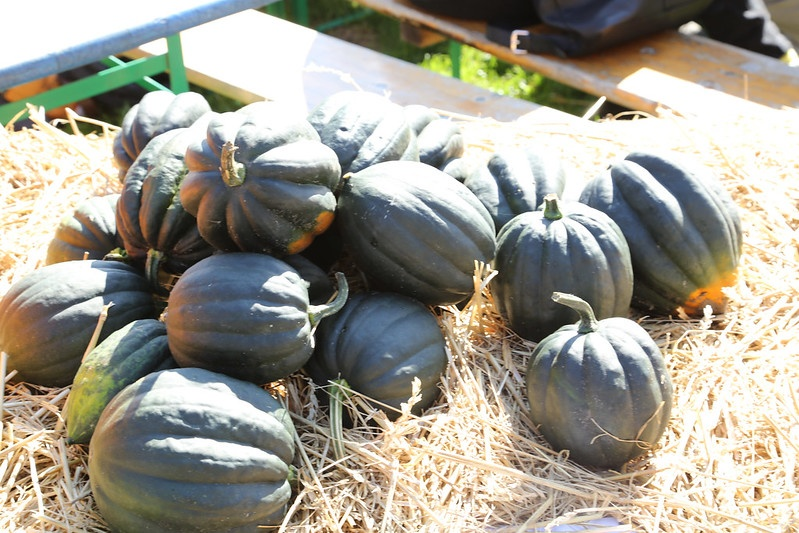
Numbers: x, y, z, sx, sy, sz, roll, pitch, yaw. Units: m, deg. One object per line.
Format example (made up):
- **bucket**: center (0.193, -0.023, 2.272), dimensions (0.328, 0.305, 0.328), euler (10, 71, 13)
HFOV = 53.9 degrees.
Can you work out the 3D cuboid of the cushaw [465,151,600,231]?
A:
- **cushaw**: center (0.660, -0.429, 4.053), dimensions (0.600, 0.264, 0.511), euler (9, 26, 17)
